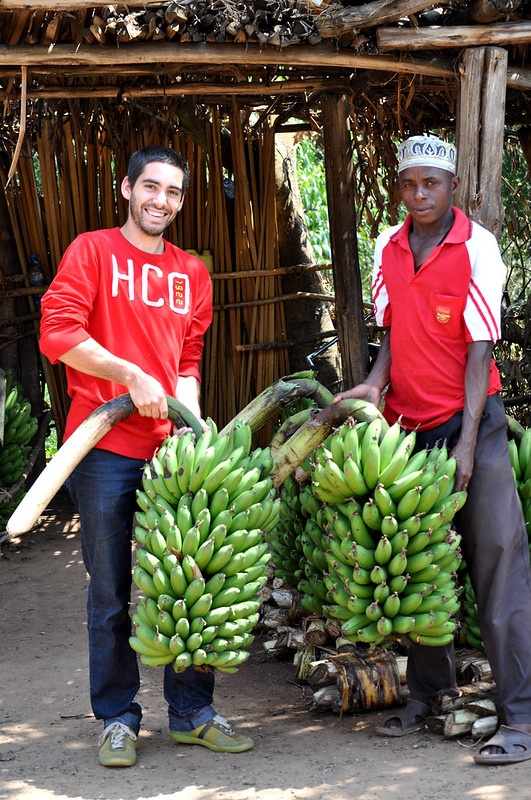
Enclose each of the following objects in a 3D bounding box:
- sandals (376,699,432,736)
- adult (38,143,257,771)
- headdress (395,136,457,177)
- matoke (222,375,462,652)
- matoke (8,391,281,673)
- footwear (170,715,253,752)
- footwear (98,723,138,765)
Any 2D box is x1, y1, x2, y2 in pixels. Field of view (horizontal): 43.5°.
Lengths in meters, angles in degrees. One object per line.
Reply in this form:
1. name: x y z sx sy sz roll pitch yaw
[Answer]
1. sandals: 0.480 1.087 2.302 0.228 0.086 0.080 -2 3 -36
2. adult: -0.389 0.168 2.156 0.697 1.955 0.645 4 -7 -38
3. headdress: 0.522 -0.793 2.159 0.180 0.130 0.125 -5 -8 14
4. matoke: 0.208 0.273 2.162 0.655 0.989 0.692 -9 -22 -5
5. matoke: -0.373 0.488 2.044 0.718 0.841 0.538 10 -24 -15
6. footwear: -0.162 1.099 2.216 0.285 0.113 0.104 -1 -3 16
7. footwear: -0.464 1.072 2.050 0.077 0.064 0.165 0 -1 -7
